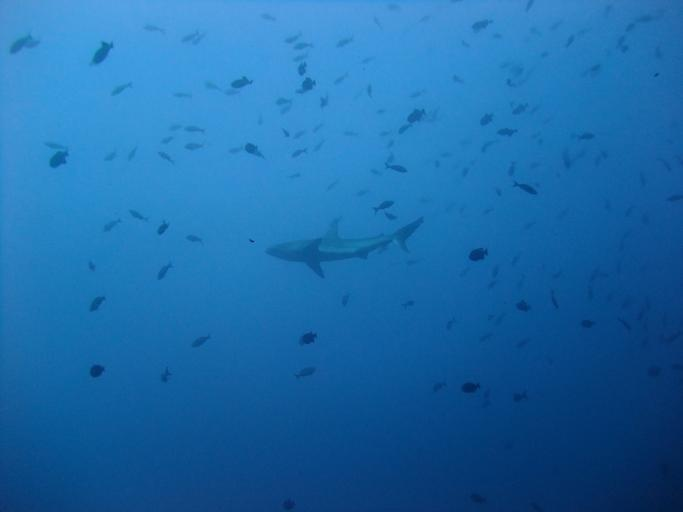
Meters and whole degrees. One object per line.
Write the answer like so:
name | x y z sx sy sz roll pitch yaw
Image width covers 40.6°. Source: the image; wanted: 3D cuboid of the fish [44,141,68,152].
fish | -1.810 -0.696 5.845 0.142 0.065 0.021 17 3 -9

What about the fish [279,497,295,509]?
fish | -0.329 1.580 5.827 0.084 0.071 0.018 6 -18 -3

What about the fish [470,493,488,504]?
fish | 0.874 1.549 5.858 0.102 0.064 0.024 3 -18 6

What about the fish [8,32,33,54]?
fish | -2.018 -1.349 5.896 0.195 0.072 0.081 -36 11 1

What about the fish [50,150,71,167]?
fish | -1.788 -0.622 5.884 0.084 0.118 0.031 44 -5 -4
